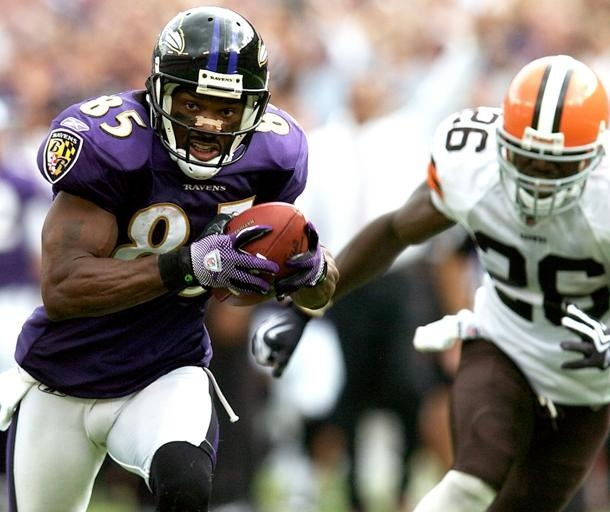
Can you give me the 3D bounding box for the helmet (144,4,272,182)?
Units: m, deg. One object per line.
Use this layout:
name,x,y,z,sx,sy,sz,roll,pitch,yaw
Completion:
helmet,-0.295,-0.487,2.344,0.398,0.522,0.503,2,20,-13

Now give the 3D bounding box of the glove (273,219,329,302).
glove,-0.011,0.017,2.348,0.076,0.213,0.159,43,-3,2

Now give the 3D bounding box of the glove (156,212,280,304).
glove,-0.245,0.030,2.227,0.329,0.217,0.132,-5,28,-11
